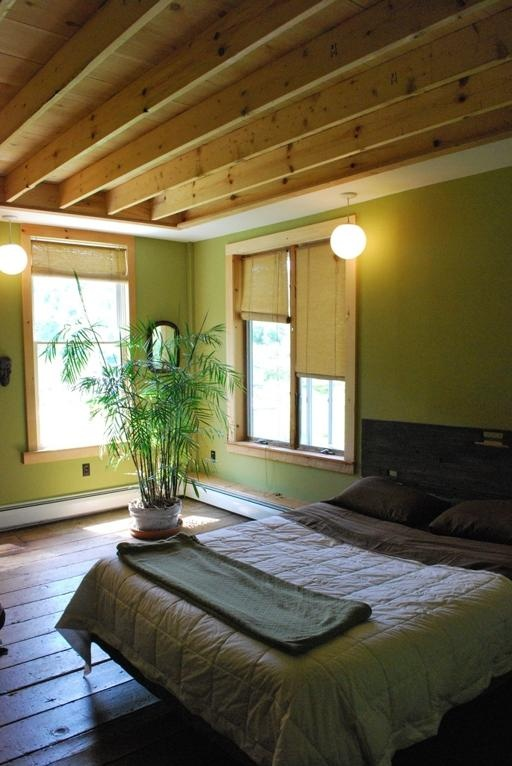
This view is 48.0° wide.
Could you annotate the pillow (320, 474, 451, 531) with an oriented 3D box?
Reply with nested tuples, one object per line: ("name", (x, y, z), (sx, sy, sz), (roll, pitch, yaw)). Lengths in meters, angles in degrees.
("pillow", (0.710, 0.639, 3.092), (0.278, 0.089, 0.336), (-7, 10, -36))

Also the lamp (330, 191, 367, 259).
("lamp", (0.563, -0.963, 3.536), (0.212, 0.423, 0.213), (2, -4, -4))

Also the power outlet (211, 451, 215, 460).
("power outlet", (-0.403, 0.670, 5.364), (0.010, 0.086, 0.074), (-6, 10, -33))

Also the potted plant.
("potted plant", (-0.657, 0.398, 4.206), (1.167, 1.433, 0.944), (-2, 4, -42))
